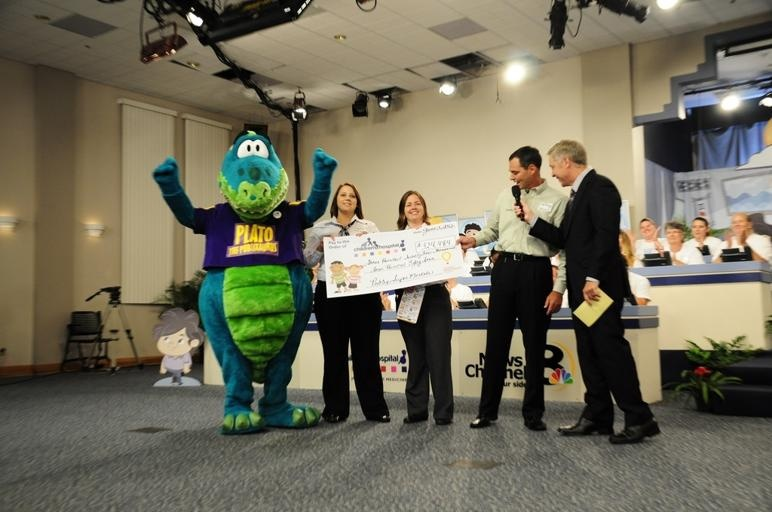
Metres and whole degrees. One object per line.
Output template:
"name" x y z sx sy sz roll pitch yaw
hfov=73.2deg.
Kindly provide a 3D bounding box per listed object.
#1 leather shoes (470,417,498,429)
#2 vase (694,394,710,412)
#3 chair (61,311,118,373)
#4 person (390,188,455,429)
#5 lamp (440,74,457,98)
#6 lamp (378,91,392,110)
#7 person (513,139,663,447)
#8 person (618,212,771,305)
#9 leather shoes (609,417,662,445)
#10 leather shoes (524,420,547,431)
"leather shoes" 0.809 1.390 4.331 0.234 0.106 0.089 6 -10 -19
"vase" 2.895 1.359 4.734 0.124 0.138 0.073 -3 -4 32
"chair" -5.449 1.618 9.626 1.077 1.439 1.076 6 -13 -39
"person" 0.333 0.421 4.546 0.471 2.011 0.356 -2 -3 4
"lamp" 1.258 -3.334 10.376 0.330 0.346 0.495 -2 -3 8
"lamp" -0.028 -3.271 11.069 0.219 0.302 0.300 5 39 -8
"person" 1.617 0.227 4.074 0.813 2.360 0.366 -3 -3 28
"person" 3.973 0.050 6.741 1.267 0.582 0.845 -6 6 -18
"leather shoes" 1.860 1.325 3.957 0.440 0.194 0.159 -10 -9 -10
"leather shoes" 1.215 1.358 4.180 0.134 0.061 0.076 -3 2 -6
